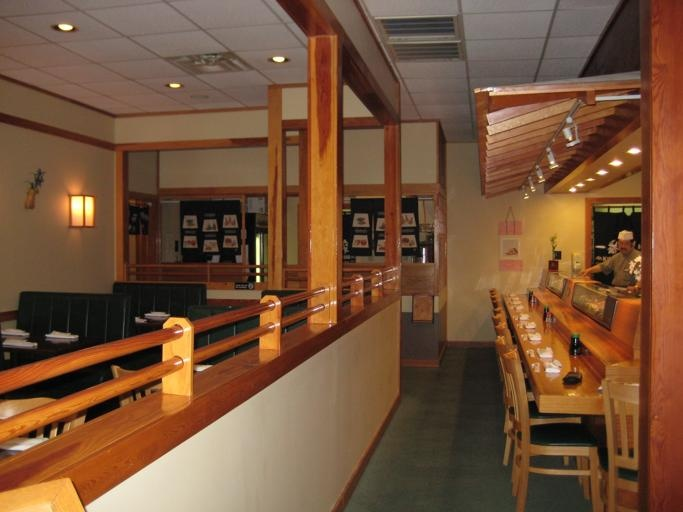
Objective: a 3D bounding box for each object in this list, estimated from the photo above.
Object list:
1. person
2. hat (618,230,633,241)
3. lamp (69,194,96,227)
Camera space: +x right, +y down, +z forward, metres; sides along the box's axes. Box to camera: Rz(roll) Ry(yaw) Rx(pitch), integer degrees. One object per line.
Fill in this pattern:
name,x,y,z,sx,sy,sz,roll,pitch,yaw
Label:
person,3.419,0.158,6.300,0.571,0.940,0.679,3,3,-37
hat,3.638,-0.259,6.471,0.159,0.115,0.162,-8,0,-28
lamp,-3.290,-0.567,6.448,0.130,0.414,0.341,0,2,21
